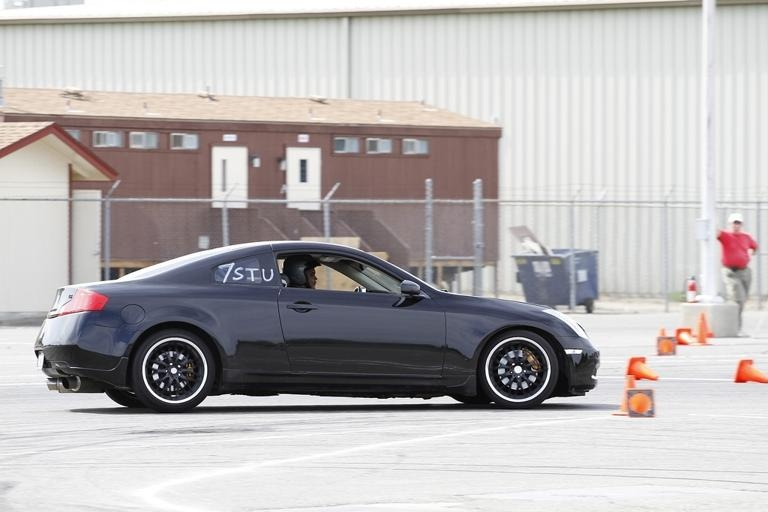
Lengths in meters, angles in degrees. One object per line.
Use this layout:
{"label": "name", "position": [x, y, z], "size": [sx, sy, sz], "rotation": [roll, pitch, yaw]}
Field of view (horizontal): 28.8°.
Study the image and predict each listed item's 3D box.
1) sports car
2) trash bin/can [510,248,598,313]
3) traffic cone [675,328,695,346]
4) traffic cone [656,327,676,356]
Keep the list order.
{"label": "sports car", "position": [-1.187, 1.148, 23.640], "size": [8.316, 1.976, 3.117], "rotation": [0, -1, -9]}
{"label": "trash bin/can", "position": [4.205, 0.574, 37.223], "size": [1.879, 1.308, 1.732], "rotation": [-2, 1, 44]}
{"label": "traffic cone", "position": [6.014, 1.590, 30.015], "size": [0.345, 0.319, 0.399], "rotation": [0, 0, 7]}
{"label": "traffic cone", "position": [5.353, 1.680, 28.478], "size": [0.366, 0.355, 0.347], "rotation": [0, 0, 8]}
